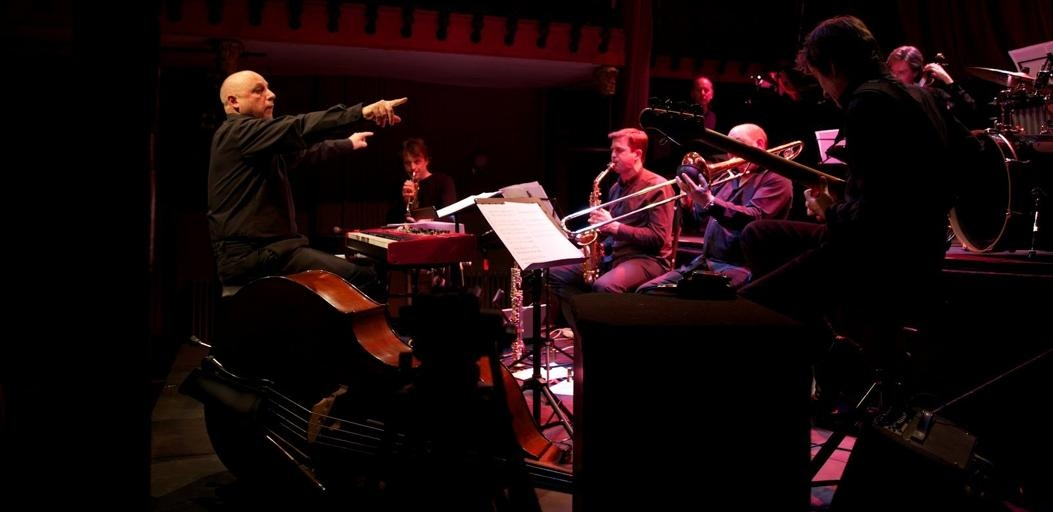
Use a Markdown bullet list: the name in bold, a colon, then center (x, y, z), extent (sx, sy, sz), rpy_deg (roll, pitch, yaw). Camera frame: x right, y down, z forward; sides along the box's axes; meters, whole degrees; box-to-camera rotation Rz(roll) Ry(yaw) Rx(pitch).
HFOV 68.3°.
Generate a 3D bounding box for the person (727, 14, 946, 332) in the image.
- **person**: center (2.540, -0.645, 5.811), extent (1.146, 2.295, 0.731), rpy_deg (6, 10, 22)

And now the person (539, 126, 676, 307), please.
- **person**: center (0.892, -0.271, 7.629), extent (1.027, 1.904, 1.042), rpy_deg (-1, 5, -19)

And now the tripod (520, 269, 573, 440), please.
- **tripod**: center (0.148, 0.812, 6.611), extent (0.487, 1.282, 0.516), rpy_deg (4, 0, 3)

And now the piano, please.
- **piano**: center (-1.014, -0.096, 6.903), extent (0.864, 0.355, 0.931), rpy_deg (-2, 9, -26)

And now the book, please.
- **book**: center (0.009, -0.194, 6.296), extent (0.743, 0.699, 0.116), rpy_deg (-13, -33, -37)

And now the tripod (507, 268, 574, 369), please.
- **tripod**: center (0.040, 0.628, 7.433), extent (0.604, 1.014, 0.720), rpy_deg (1, 3, 2)

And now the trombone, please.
- **trombone**: center (1.436, -0.620, 7.447), extent (2.419, 0.471, 0.412), rpy_deg (-17, 25, 17)
